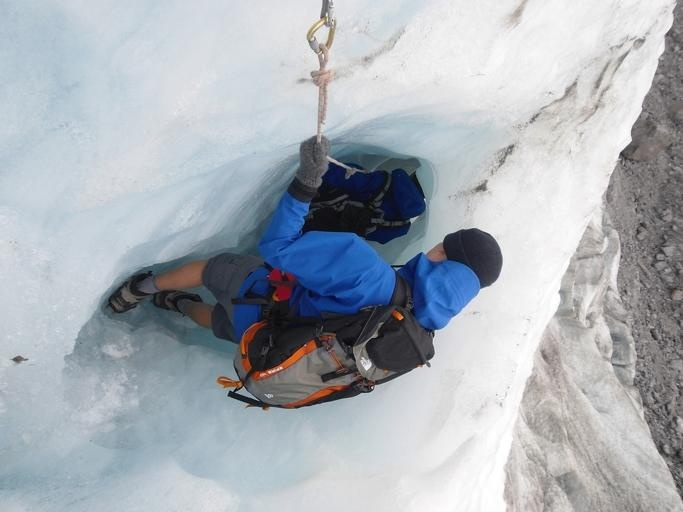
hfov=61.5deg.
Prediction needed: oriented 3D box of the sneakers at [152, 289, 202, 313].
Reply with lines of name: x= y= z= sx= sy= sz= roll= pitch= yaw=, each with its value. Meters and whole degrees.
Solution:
sneakers: x=-0.964 y=0.263 z=3.317 sx=0.302 sy=0.118 sz=0.132 roll=5 pitch=2 yaw=-17

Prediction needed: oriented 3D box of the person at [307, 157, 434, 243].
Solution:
person: x=0.170 y=-0.438 z=3.832 sx=0.965 sy=0.306 sz=0.709 roll=-1 pitch=-3 yaw=20

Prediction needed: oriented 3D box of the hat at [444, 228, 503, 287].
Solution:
hat: x=0.649 y=-0.015 z=2.778 sx=0.259 sy=0.285 sz=0.230 roll=-18 pitch=16 yaw=32

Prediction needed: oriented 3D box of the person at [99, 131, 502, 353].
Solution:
person: x=-0.188 y=-0.010 z=3.060 sx=2.108 sy=0.915 sz=0.981 roll=5 pitch=7 yaw=25

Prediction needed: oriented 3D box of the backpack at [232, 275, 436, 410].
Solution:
backpack: x=-0.050 y=0.434 z=2.619 sx=0.915 sy=0.320 sz=0.520 roll=-12 pitch=41 yaw=8
